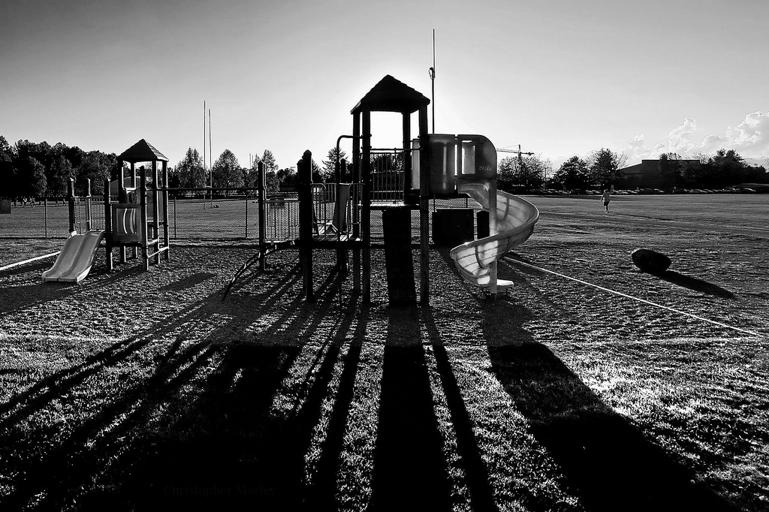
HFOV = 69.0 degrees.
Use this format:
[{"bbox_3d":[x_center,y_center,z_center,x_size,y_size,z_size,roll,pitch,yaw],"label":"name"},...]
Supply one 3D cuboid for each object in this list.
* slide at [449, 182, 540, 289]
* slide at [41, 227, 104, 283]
[{"bbox_3d":[2.786,-0.515,14.108,1.554,1.444,3.528,-3,27,3],"label":"slide"},{"bbox_3d":[-8.702,0.047,15.716,0.965,0.626,2.083,-1,29,-1],"label":"slide"}]
